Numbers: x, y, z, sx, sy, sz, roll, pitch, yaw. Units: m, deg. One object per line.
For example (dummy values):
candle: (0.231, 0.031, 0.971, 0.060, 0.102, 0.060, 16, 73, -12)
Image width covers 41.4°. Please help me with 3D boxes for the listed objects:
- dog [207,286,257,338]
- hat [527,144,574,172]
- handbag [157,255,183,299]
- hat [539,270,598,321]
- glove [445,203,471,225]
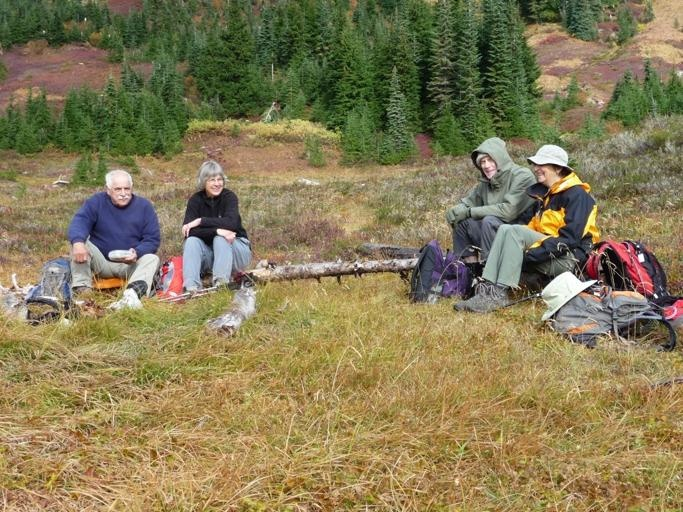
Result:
dog: (-1.765, 1.015, 15.402, 0.354, 0.667, 1.221, 12, 40, 19)
hat: (3.719, -1.744, 16.217, 0.579, 0.291, 0.459, 3, 4, -1)
handbag: (-3.186, 0.443, 16.793, 0.295, 0.440, 0.564, 15, 46, -21)
hat: (3.861, 0.780, 15.525, 0.908, 0.324, 0.713, -41, 1, 19)
glove: (2.242, -0.758, 17.312, 0.398, 0.351, 0.204, -23, -22, 6)
